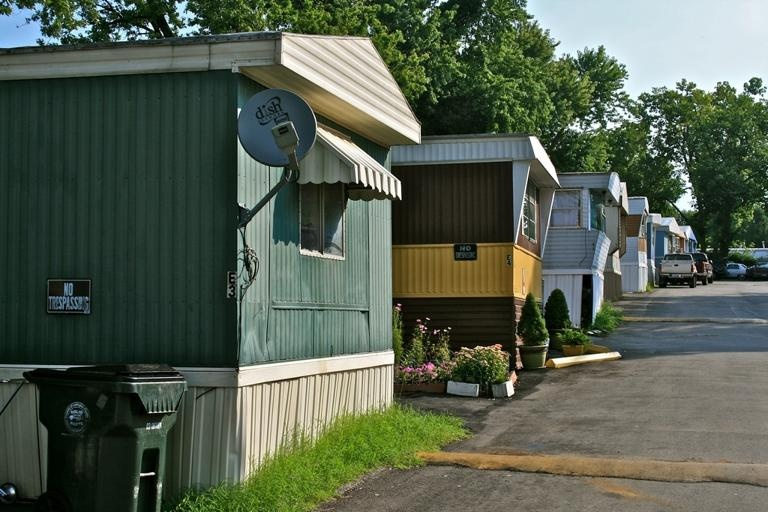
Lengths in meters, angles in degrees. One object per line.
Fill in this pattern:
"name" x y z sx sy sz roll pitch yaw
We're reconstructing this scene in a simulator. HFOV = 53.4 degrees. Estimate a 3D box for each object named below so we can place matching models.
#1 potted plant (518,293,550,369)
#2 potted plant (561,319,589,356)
"potted plant" 3.678 1.855 18.965 0.702 1.867 0.940 -1 -5 9
"potted plant" 5.173 2.370 21.035 0.748 0.738 0.758 -3 -8 14
